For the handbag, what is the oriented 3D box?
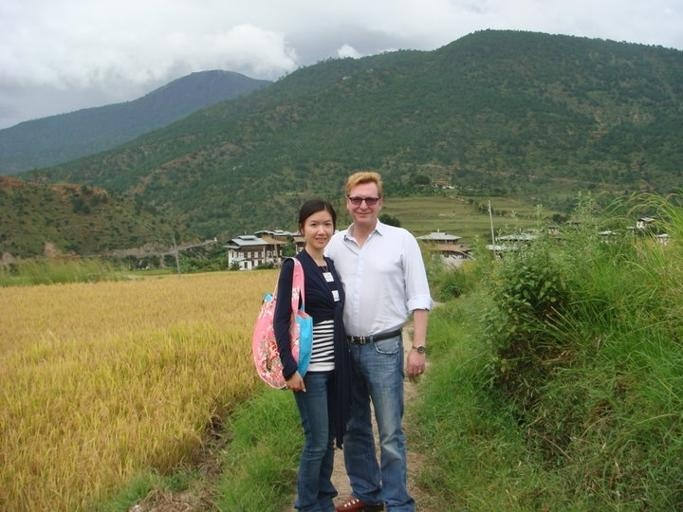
[{"bbox_3d":[-0.579,0.840,5.492,0.621,0.865,0.330,6,14,24],"label":"handbag"}]
